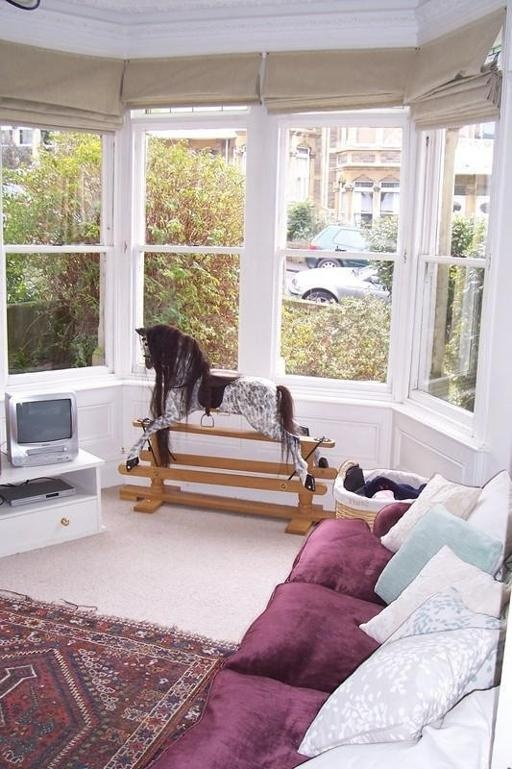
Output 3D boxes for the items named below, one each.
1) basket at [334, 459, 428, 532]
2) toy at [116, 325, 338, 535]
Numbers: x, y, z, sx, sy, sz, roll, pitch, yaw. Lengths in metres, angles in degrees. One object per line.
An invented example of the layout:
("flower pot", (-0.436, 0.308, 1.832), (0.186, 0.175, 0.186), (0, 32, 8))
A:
("basket", (0.536, 0.551, 2.912), (0.273, 0.219, 0.362), (-8, 16, -22))
("toy", (-0.119, 0.306, 3.747), (1.135, 0.972, 0.410), (4, 18, 18))
